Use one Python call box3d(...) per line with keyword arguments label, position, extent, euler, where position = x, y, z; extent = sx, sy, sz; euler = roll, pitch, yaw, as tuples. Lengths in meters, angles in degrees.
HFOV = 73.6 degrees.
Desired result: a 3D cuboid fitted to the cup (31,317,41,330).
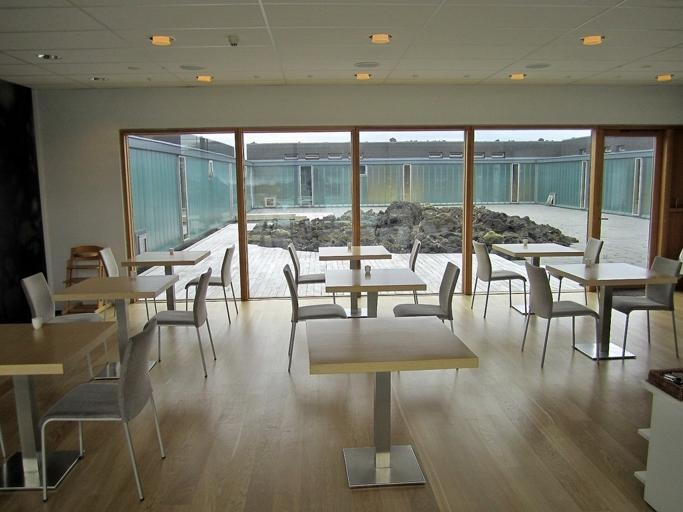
box3d(label="cup", position=(-2.532, 0.561, 3.773), extent=(0.087, 0.091, 0.083), euler=(2, 14, -1))
